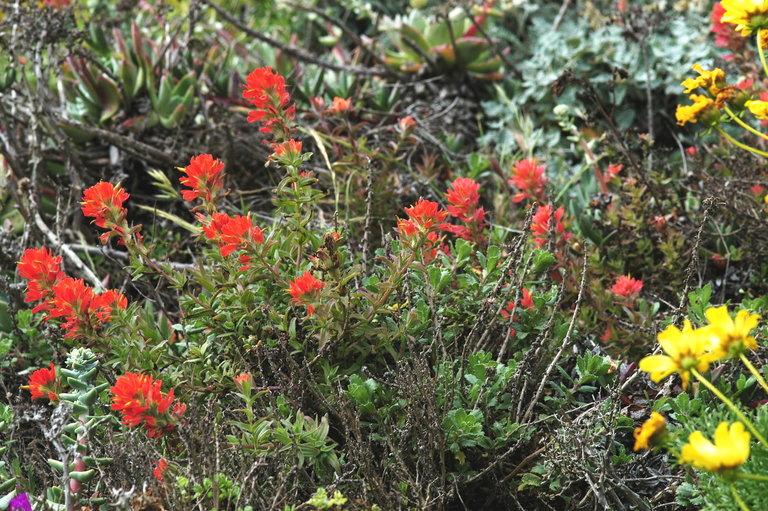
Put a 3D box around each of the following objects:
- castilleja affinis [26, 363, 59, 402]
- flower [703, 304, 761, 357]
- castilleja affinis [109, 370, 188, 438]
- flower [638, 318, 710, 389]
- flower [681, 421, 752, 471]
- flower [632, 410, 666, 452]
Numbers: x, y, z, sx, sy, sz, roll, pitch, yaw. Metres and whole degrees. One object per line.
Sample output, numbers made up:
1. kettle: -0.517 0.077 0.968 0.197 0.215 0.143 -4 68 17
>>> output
1. castilleja affinis: -1.155 0.434 3.014 0.106 0.088 0.194 11 -8 -10
2. flower: 1.060 0.254 2.715 0.155 0.174 0.088 -30 6 -6
3. castilleja affinis: -0.763 0.485 2.819 0.177 0.193 0.201 4 -10 32
4. flower: 0.906 0.307 2.700 0.201 0.227 0.068 -26 -28 16
5. flower: 0.983 0.558 2.601 0.185 0.153 0.134 8 -8 16
6. flower: 0.800 0.528 2.647 0.100 0.118 0.087 2 -11 43
